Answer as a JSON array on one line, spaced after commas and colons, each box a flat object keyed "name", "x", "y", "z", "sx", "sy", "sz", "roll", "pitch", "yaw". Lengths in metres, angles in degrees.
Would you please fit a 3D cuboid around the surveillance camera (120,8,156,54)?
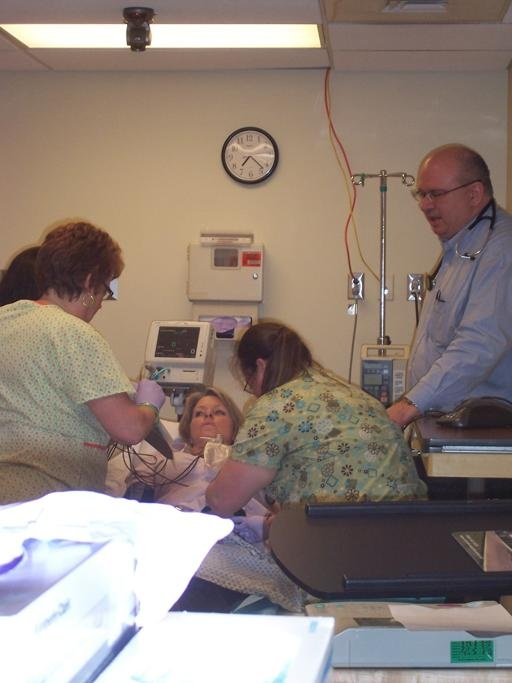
[{"name": "surveillance camera", "x": -0.548, "y": -1.466, "z": 2.969, "sx": 0.138, "sy": 0.176, "sz": 0.166, "roll": 5, "pitch": 1, "yaw": 7}]

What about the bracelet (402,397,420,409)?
[{"name": "bracelet", "x": 0.464, "y": 0.190, "z": 1.916, "sx": 0.030, "sy": 0.008, "sz": 0.029, "roll": 34, "pitch": 20, "yaw": 4}]

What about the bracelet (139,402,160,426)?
[{"name": "bracelet", "x": -0.278, "y": 0.198, "z": 1.699, "sx": 0.065, "sy": 0.054, "sz": 0.063, "roll": -12, "pitch": -10, "yaw": 10}]

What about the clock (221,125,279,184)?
[{"name": "clock", "x": -0.038, "y": -1.095, "z": 3.716, "sx": 0.382, "sy": 0.323, "sz": 0.032, "roll": 2, "pitch": 14, "yaw": 21}]
